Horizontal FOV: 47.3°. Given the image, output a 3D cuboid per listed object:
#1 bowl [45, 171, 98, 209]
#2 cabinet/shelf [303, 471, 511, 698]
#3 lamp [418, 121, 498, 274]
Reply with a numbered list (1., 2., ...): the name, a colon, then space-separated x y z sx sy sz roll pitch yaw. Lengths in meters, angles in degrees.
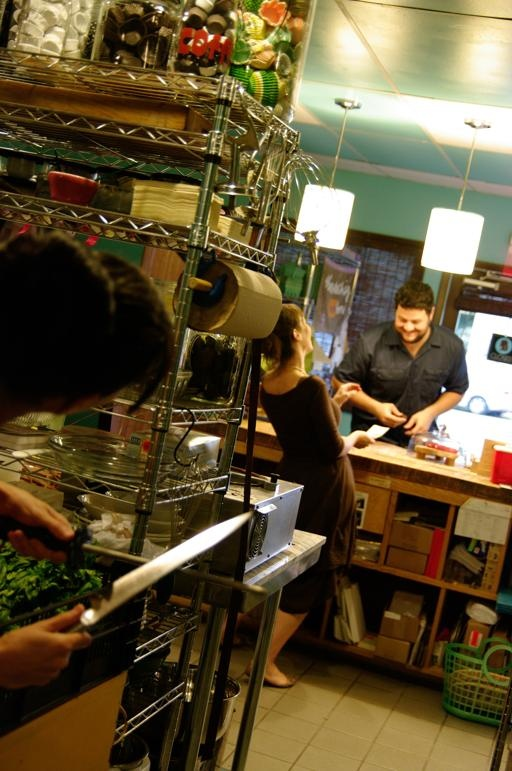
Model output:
1. bowl: -0.397 -0.413 1.280 0.111 0.065 0.084 -1 10 -37
2. cabinet/shelf: 0.838 1.072 3.177 1.222 1.086 0.400 10 -7 14
3. lamp: 1.590 -1.385 4.601 0.359 1.053 1.163 12 -2 14
